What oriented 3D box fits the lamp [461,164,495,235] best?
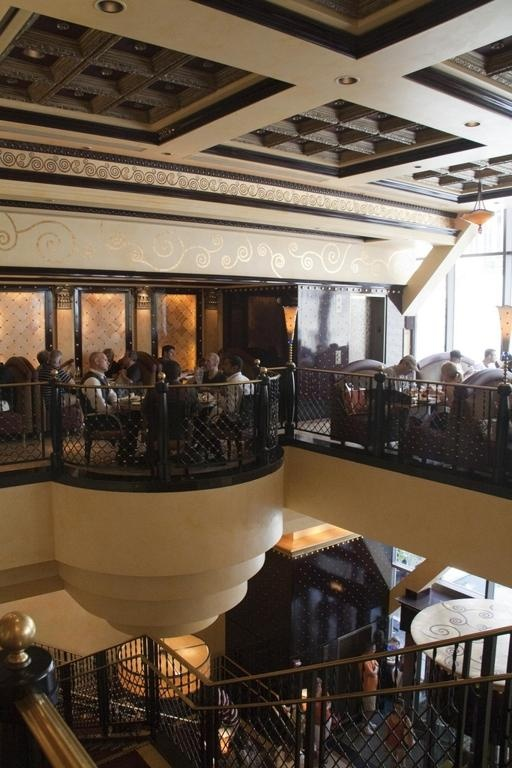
[{"bbox_3d":[2.991,-2.461,7.687,0.390,0.783,0.444,8,-8,-36],"label":"lamp"}]
